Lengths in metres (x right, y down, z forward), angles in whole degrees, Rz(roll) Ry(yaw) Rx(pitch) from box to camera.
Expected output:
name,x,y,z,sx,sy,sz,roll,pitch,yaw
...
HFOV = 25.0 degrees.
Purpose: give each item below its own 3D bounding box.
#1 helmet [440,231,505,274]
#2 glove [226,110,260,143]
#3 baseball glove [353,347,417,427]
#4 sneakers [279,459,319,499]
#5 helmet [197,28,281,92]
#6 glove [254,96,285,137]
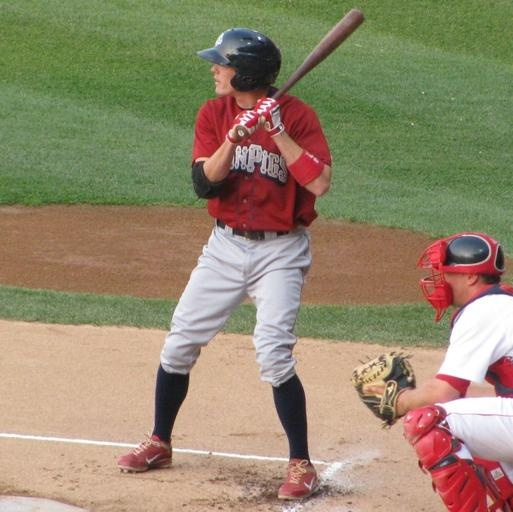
name,x,y,z,sx,sy,sz,roll,pitch,yaw
helmet,1.409,-0.018,7.548,0.344,0.198,0.256,12,10,17
glove,-0.084,-0.895,7.968,0.141,0.248,0.098,39,-7,47
baseball glove,0.850,0.869,7.675,0.387,0.474,0.213,-13,-13,35
sneakers,0.290,1.566,8.046,0.227,0.271,0.183,14,11,4
helmet,-0.136,-1.411,8.244,0.571,0.389,0.401,3,20,-4
glove,0.097,-0.962,7.930,0.104,0.240,0.194,-9,17,31
